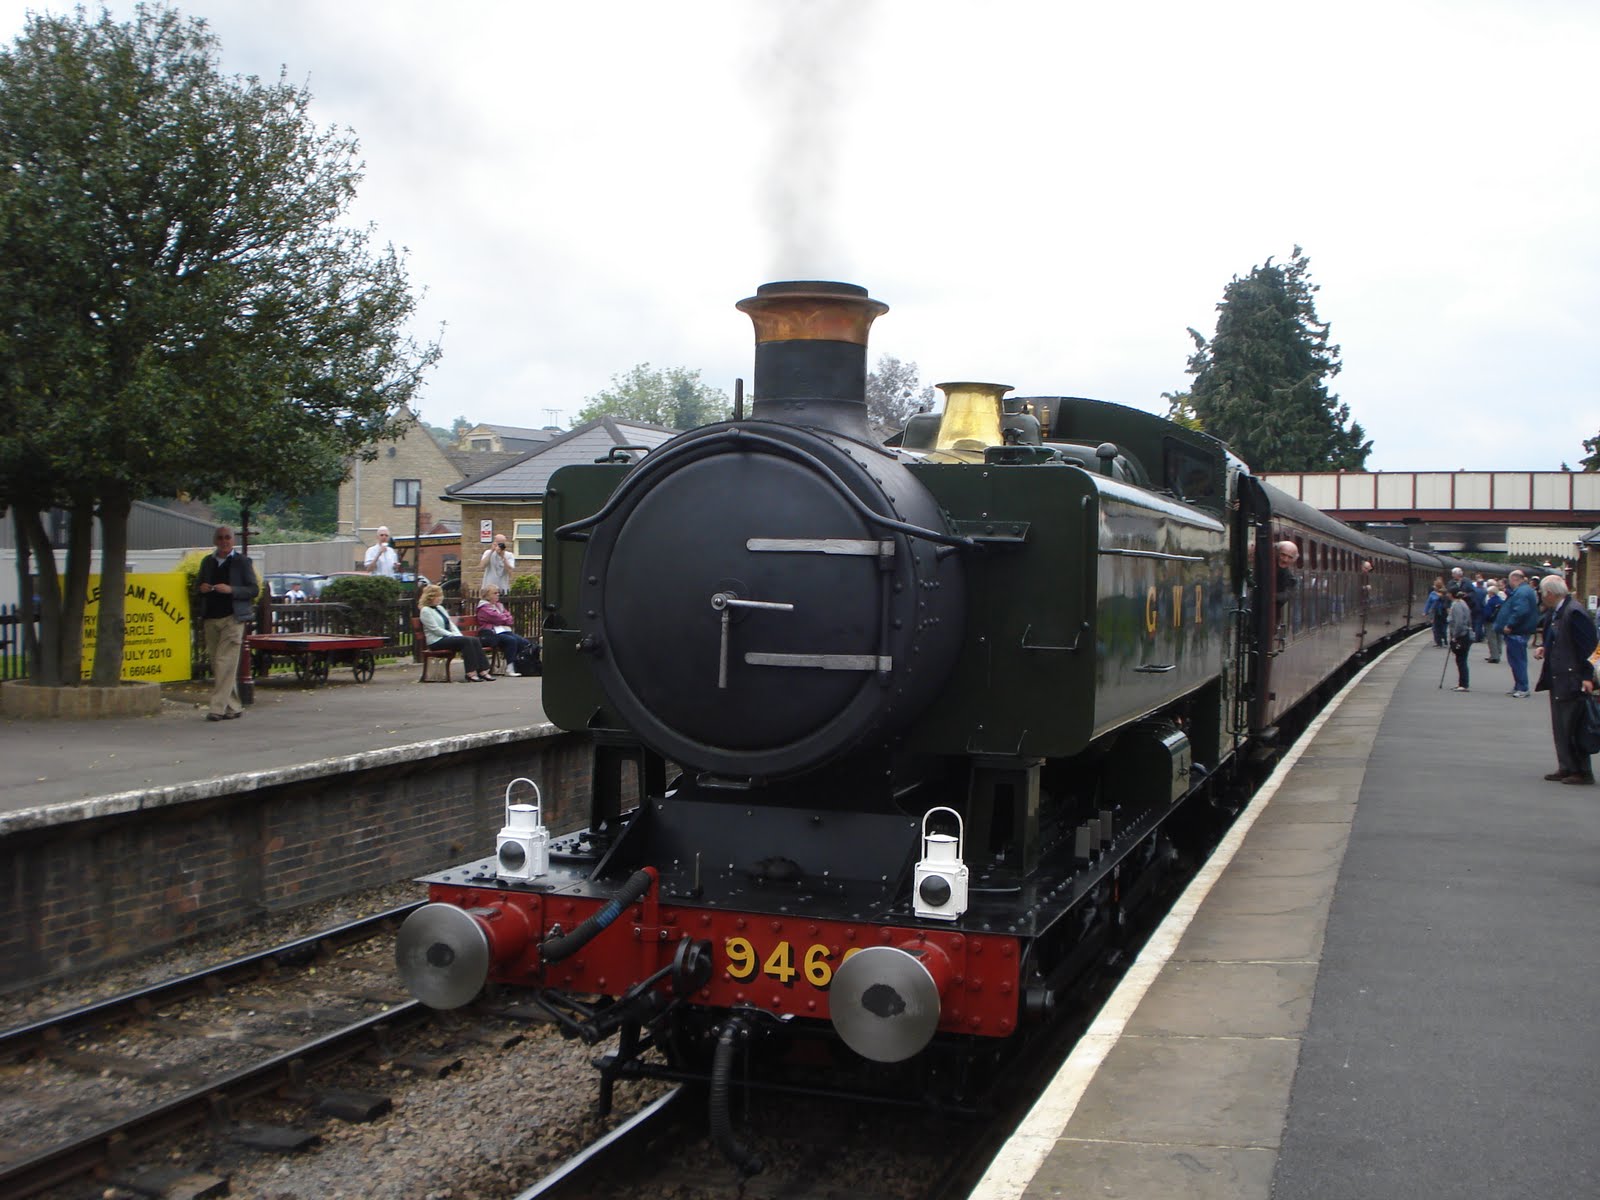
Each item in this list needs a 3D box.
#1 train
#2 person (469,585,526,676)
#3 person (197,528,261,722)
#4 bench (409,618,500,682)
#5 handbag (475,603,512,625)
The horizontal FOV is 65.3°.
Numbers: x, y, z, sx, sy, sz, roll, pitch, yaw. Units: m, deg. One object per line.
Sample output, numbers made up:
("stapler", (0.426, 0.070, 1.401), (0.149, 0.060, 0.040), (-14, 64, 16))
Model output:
("train", (1.263, 0.245, 8.401), (2.470, 3.090, 7.766), (0, 2, 18))
("person", (-4.477, 0.425, 18.668), (0.667, 1.303, 0.533), (0, 12, 13))
("person", (-5.777, 0.230, 12.621), (0.580, 1.911, 0.724), (-6, 7, -26))
("bench", (-4.894, 0.746, 17.657), (1.092, 1.035, 0.923), (-2, -3, 25))
("handbag", (-4.654, 0.216, 18.998), (0.320, 0.212, 0.433), (1, 4, -2))
